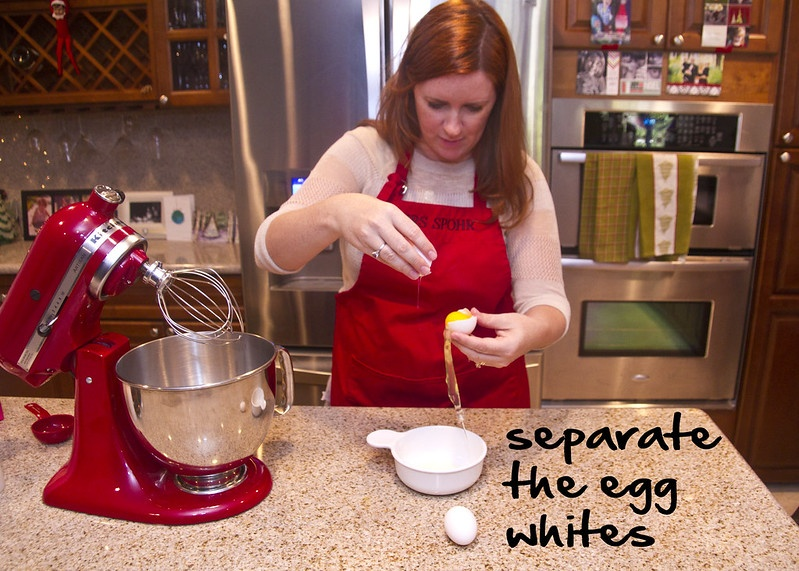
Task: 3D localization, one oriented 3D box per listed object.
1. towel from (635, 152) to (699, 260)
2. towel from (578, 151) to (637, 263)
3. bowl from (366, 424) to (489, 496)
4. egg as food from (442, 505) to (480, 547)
[{"bbox_3d":[1.126,-0.340,2.717,0.248,0.430,0.080,-5,17,-7],"label":"towel"},{"bbox_3d":[0.899,-0.329,2.726,0.239,0.462,0.089,2,18,14],"label":"towel"},{"bbox_3d":[0.071,0.391,1.460,0.194,0.070,0.163,3,17,14],"label":"bowl"},{"bbox_3d":[0.132,0.505,1.350,0.074,0.088,0.073,-4,1,-34],"label":"egg as food"}]
